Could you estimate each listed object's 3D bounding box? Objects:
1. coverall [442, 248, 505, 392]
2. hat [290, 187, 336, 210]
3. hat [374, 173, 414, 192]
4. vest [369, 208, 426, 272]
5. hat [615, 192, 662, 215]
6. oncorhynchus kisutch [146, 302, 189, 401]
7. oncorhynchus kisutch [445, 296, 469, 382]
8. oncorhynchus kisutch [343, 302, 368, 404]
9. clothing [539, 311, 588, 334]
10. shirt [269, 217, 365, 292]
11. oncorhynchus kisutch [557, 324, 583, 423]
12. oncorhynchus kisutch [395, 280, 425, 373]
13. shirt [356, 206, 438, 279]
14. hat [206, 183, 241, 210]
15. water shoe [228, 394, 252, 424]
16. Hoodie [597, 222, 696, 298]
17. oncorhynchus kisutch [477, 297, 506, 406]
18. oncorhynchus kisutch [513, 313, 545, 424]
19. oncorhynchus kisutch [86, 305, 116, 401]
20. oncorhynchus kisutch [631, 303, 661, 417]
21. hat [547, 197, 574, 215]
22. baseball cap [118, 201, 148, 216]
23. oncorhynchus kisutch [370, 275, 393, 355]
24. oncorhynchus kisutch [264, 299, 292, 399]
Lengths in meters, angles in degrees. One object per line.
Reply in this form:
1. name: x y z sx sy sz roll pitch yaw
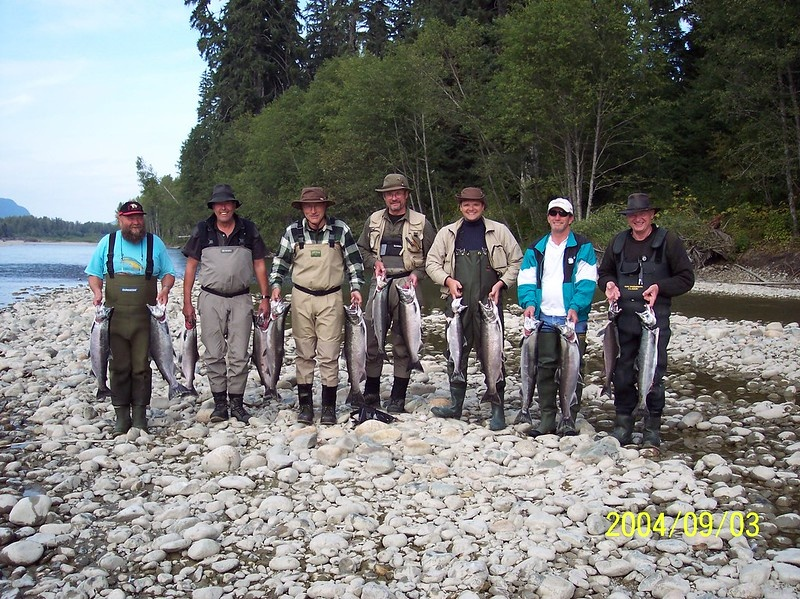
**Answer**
1. coverall: 0.978 0.347 8.598 0.591 1.999 0.587 -1 -7 10
2. hat: -1.180 -1.385 8.720 0.519 0.324 1.024 0 3 -12
3. hat: -0.043 -1.572 8.885 0.386 0.176 0.455 -4 3 12
4. vest: -0.083 -0.765 9.152 0.981 0.948 0.539 4 -3 2
5. hat: 2.919 -1.142 7.882 0.456 0.208 0.533 0 6 33
6. oncorhynchus kisutch: -3.016 0.672 8.376 0.496 1.354 0.314 -15 9 -32
7. oncorhynchus kisutch: 0.725 0.523 8.350 0.243 1.069 0.302 1 3 6
8. oncorhynchus kisutch: -0.597 0.764 8.528 0.262 1.380 0.424 0 3 -5
9. clothing: 2.039 0.315 8.096 0.469 0.272 0.123 9 47 2
10. shirt: -1.101 -0.550 8.657 1.240 0.941 0.624 -1 11 -2
11. oncorhynchus kisutch: 2.084 0.915 7.975 0.252 1.307 0.431 1 3 16
12. oncorhynchus kisutch: 0.131 0.335 8.526 0.300 1.154 0.430 0 3 -18
13. shirt: -0.058 -0.717 9.106 1.126 1.060 0.595 0 2 5
14. hat: -2.277 -1.331 8.470 0.353 0.206 0.396 -3 2 2
15. water shoe: -2.178 1.466 8.739 0.189 0.364 0.520 -2 5 -37
16. Hoodie: 2.932 -0.403 7.988 1.212 0.902 0.672 5 17 40
17. oncorhynchus kisutch: 1.156 0.664 8.234 0.287 1.328 0.360 1 3 10
18. oncorhynchus kisutch: 1.607 0.825 8.099 0.423 1.410 0.253 3 0 11
19. oncorhynchus kisutch: -3.671 0.643 8.116 0.433 1.209 0.254 -1 -2 26
20. oncorhynchus kisutch: 2.926 0.705 7.679 0.250 1.260 0.189 -1 3 -26
21. hat: 1.983 -1.141 7.999 0.303 0.192 0.274 1 3 5
22. baseball cap: -3.307 -1.116 7.989 0.291 0.214 0.498 -1 3 -22
23. oncorhynchus kisutch: -0.256 0.236 8.810 0.274 1.060 0.348 0 3 -3
24. oncorhynchus kisutch: -1.612 0.661 8.594 0.364 1.241 0.324 2 -2 40
